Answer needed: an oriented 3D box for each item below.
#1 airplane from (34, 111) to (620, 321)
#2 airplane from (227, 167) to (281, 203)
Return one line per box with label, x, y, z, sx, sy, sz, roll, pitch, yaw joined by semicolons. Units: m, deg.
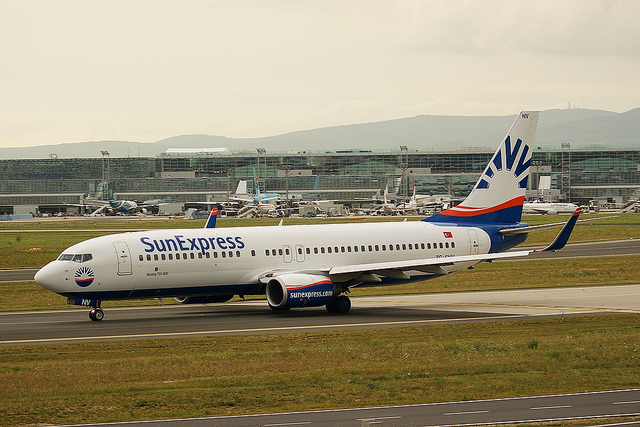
airplane;-0.567;2.589;65.981;22.309;5.799;21.515;2;-3;-25
airplane;-14.828;-6.198;246.419;10.419;7.741;29.248;4;0;-12
